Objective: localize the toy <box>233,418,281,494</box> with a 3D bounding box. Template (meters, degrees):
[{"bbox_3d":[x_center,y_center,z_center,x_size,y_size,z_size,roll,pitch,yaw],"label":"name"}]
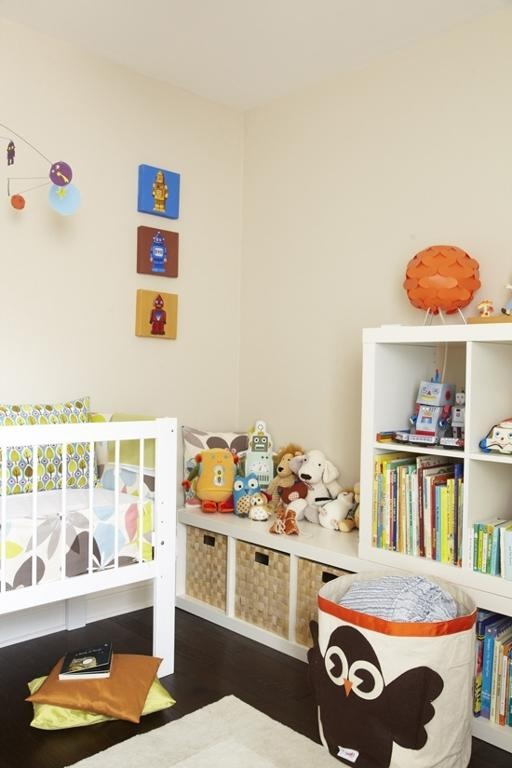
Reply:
[{"bbox_3d":[0.020,0.319,2.722,0.196,0.370,0.062,2,26,-1],"label":"toy"}]

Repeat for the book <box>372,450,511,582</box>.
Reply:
[{"bbox_3d":[0.555,0.357,1.792,0.178,0.287,0.446,4,-3,-39],"label":"book"}]

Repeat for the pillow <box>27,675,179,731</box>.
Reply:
[{"bbox_3d":[-0.407,0.846,1.707,0.295,0.084,0.304,3,-14,33],"label":"pillow"}]
